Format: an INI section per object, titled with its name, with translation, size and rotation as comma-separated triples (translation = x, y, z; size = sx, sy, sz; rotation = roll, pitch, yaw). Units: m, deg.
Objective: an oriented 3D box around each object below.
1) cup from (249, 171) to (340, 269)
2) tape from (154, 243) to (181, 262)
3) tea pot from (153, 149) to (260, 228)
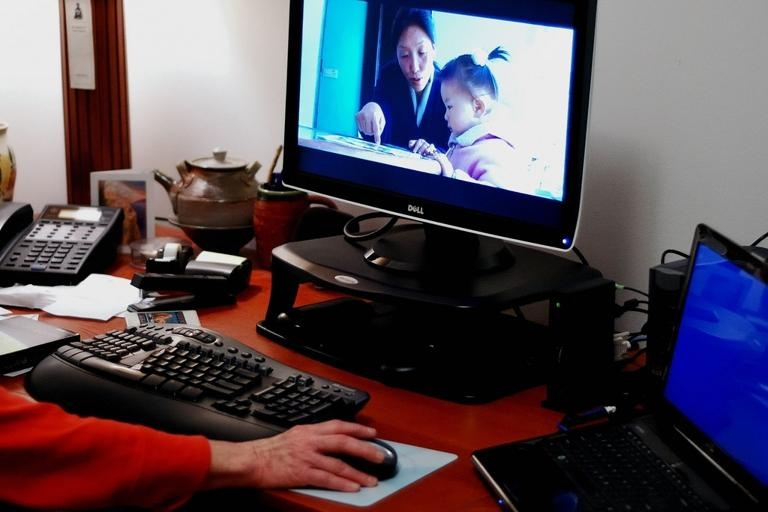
[cup]
translation = -0.250, -0.079, 1.652
size = 0.254, 0.222, 0.153
rotation = 1, 18, -8
[tape]
translation = -0.549, -0.013, 1.461
size = 0.042, 0.020, 0.058
rotation = 2, 20, 4
[tea pot]
translation = -0.490, -0.199, 1.702
size = 0.323, 0.207, 0.234
rotation = 0, 17, -13
